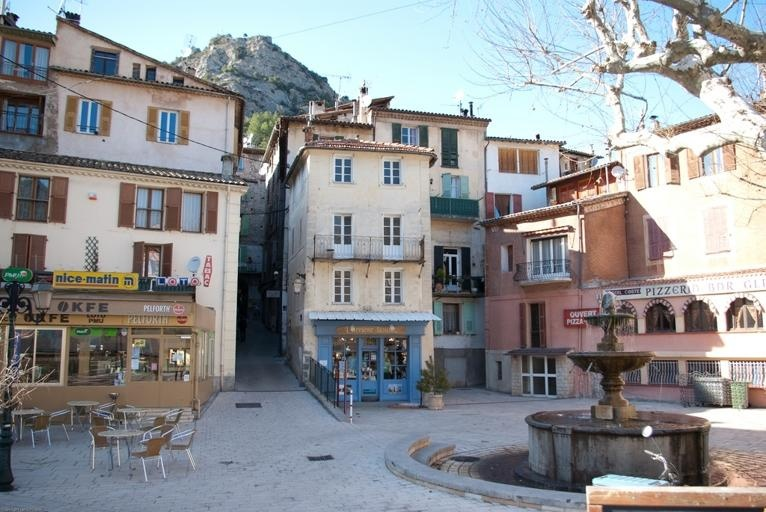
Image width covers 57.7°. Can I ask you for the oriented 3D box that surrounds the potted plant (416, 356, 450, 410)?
[{"bbox_3d":[2.145,5.606,30.584,1.330,2.153,1.914,-2,-9,3],"label":"potted plant"}]
